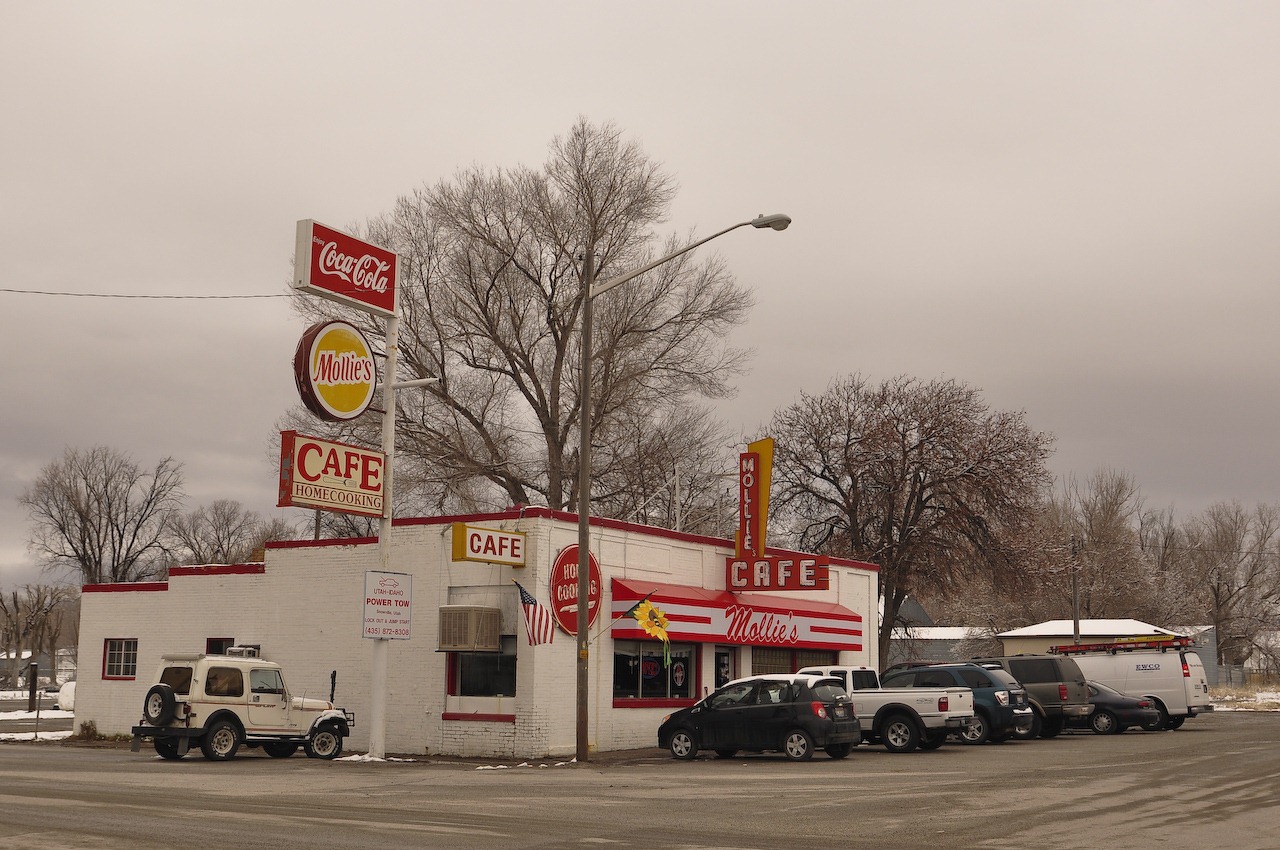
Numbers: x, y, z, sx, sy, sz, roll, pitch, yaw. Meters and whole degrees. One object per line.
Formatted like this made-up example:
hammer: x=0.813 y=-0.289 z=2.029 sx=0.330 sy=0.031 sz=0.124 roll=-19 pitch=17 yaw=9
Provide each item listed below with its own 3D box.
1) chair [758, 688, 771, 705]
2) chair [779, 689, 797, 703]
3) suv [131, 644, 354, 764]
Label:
chair: x=3.270 y=7.211 z=36.306 sx=0.250 sy=0.306 sz=0.324 roll=-2 pitch=-9 yaw=26
chair: x=3.856 y=7.115 z=36.112 sx=0.492 sy=0.490 sz=0.270 roll=-1 pitch=-11 yaw=6
suv: x=-10.631 y=7.378 z=36.994 sx=4.898 sy=2.388 sz=2.777 roll=4 pitch=-8 yaw=-40
